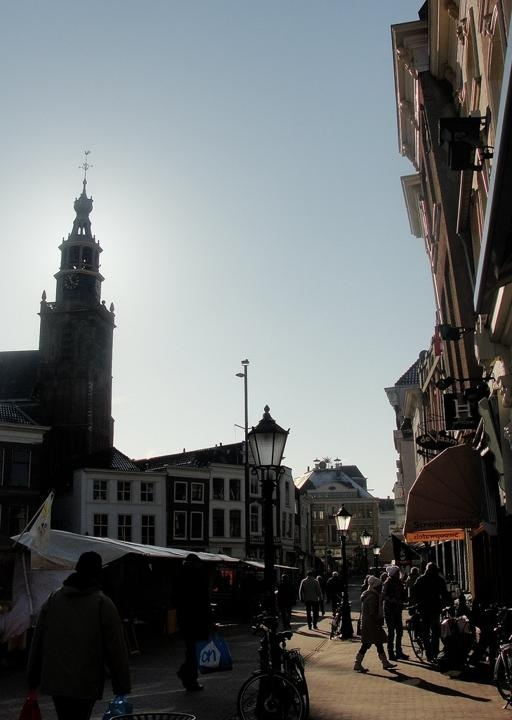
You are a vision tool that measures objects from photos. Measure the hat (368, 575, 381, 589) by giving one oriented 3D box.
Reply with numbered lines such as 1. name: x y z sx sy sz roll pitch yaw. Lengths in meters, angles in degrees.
1. hat: 1.861 3.503 11.473 0.179 0.192 0.404 -3 -13 9

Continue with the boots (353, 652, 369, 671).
1. boots: 1.633 4.706 11.394 0.229 0.296 0.411 -2 -13 7

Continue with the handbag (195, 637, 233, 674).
1. handbag: -0.536 3.756 9.282 0.422 0.405 0.274 3 -14 -15

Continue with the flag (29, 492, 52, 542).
1. flag: -4.510 3.307 15.339 0.393 1.017 4.047 3 -14 -16

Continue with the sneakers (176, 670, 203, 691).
1. sneakers: -0.877 4.347 9.834 0.255 0.240 0.567 6 -15 -26

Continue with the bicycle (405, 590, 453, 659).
1. bicycle: 2.942 4.837 13.039 0.767 0.983 1.627 3 -35 -2

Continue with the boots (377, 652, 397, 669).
1. boots: 2.089 4.780 11.651 0.264 0.251 0.439 -3 -13 10
